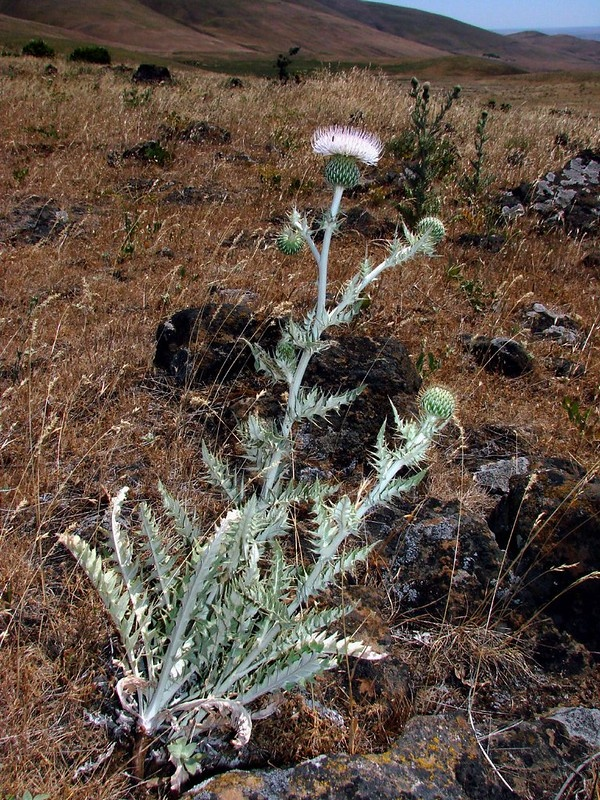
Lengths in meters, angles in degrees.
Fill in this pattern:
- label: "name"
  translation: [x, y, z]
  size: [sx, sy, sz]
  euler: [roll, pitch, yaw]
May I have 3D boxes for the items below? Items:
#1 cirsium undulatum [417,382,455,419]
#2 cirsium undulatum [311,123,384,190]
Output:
- label: "cirsium undulatum"
  translation: [0.526, 0.019, 2.826]
  size: [0.126, 0.134, 0.191]
  euler: [12, 27, 8]
- label: "cirsium undulatum"
  translation: [0.180, -1.003, 3.014]
  size: [0.297, 0.279, 0.269]
  euler: [19, 19, -8]
